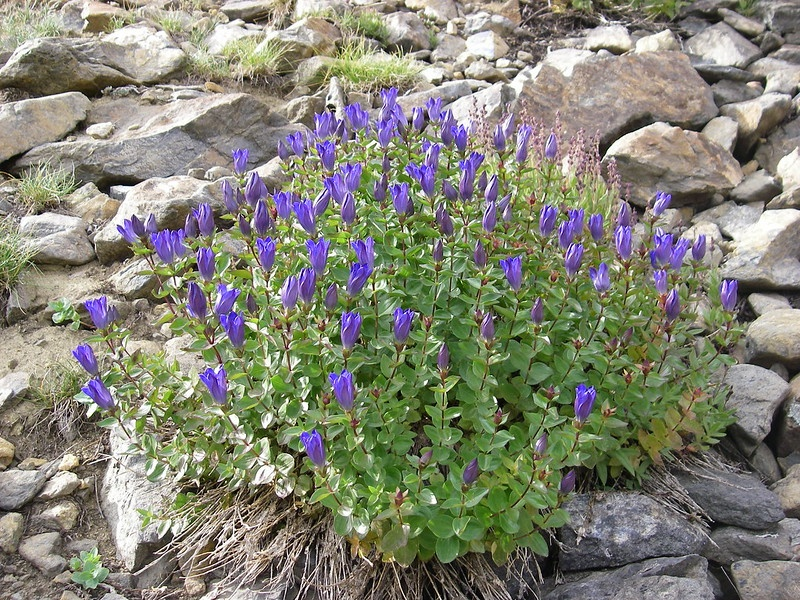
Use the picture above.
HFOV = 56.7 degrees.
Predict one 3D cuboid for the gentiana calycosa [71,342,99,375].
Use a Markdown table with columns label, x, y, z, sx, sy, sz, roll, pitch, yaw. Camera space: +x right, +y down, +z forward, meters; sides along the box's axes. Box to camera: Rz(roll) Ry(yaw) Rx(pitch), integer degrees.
| label | x | y | z | sx | sy | sz | roll | pitch | yaw |
| --- | --- | --- | --- | --- | --- | --- | --- | --- | --- |
| gentiana calycosa | -2.232 | 0.423 | 5.235 | 0.111 | 0.267 | 0.134 | -1 | 33 | 32 |

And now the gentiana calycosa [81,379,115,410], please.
| label | x | y | z | sx | sy | sz | roll | pitch | yaw |
| --- | --- | --- | --- | --- | --- | --- | --- | --- | --- |
| gentiana calycosa | -1.986 | 0.616 | 4.865 | 0.140 | 0.266 | 0.113 | -24 | 40 | -26 |
